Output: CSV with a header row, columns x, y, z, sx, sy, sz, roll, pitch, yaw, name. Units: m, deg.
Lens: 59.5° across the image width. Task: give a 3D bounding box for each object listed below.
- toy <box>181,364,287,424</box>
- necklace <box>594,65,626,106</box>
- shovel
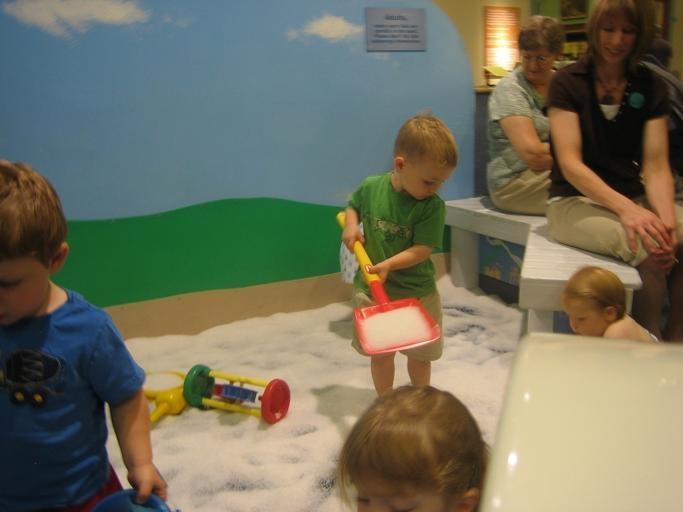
x,y,z,sx,sy,sz,roll,pitch,yaw,name
-0.391,0.495,2.248,0.390,0.183,0.231,2,17,30,toy
1.023,-0.651,2.271,0.099,0.145,0.037,0,4,9,necklace
0.162,0.114,1.909,0.250,0.258,0.385,-6,15,1,shovel
